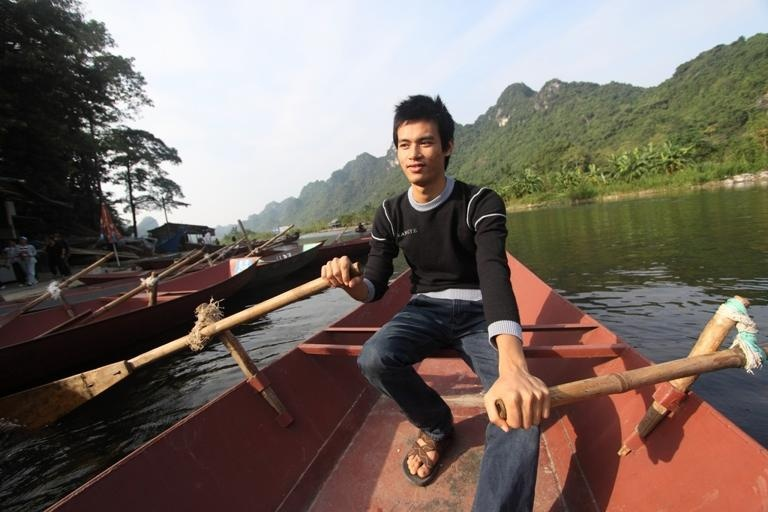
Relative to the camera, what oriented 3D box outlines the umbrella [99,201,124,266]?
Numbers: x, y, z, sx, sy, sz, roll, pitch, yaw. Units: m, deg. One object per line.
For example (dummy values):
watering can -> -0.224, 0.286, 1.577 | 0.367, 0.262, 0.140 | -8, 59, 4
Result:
umbrella -> -9.171, 0.079, 10.502 | 0.521, 1.176, 0.502 | -8, 4, -30
